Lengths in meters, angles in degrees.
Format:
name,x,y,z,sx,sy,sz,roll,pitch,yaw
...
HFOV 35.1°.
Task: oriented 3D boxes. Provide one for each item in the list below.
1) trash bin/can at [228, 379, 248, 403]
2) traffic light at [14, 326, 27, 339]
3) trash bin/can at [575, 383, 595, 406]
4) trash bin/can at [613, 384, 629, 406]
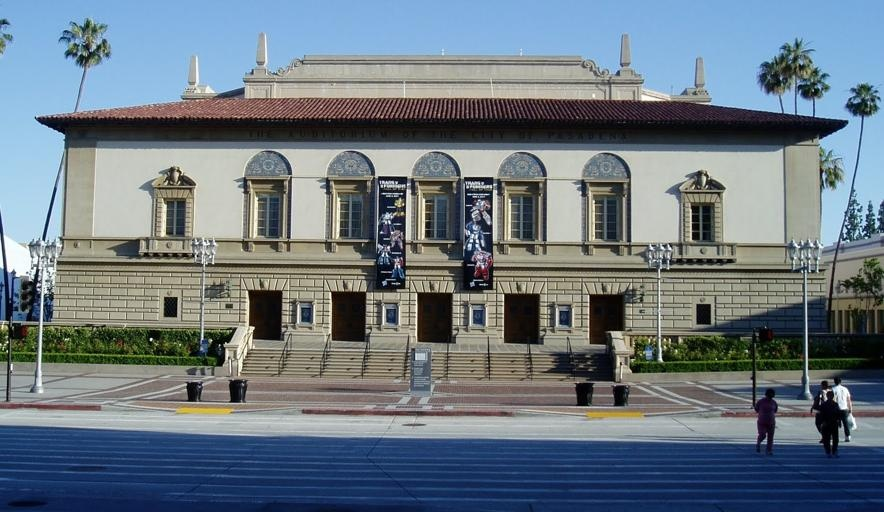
name,x,y,z,sx,sy,sz,roll,pitch,yaw
trash bin/can,-13.786,9.122,94.441,1.112,1.518,1.120,2,-6,-8
traffic light,-28.585,5.115,94.929,0.690,0.843,0.738,1,-5,-4
trash bin/can,9.628,9.389,94.509,1.125,1.571,0.985,1,-6,0
trash bin/can,12.072,9.453,94.236,0.935,1.399,0.554,1,-6,5
